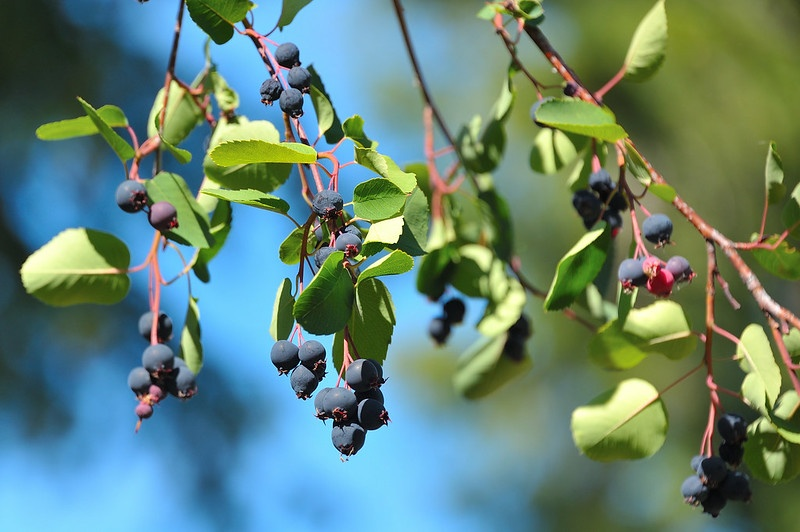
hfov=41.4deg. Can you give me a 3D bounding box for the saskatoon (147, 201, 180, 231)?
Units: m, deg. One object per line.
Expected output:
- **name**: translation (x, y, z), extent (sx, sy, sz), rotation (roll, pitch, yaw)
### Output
- **saskatoon**: translation (-1.078, -0.225, 4.800), extent (0.134, 0.122, 0.112), rotation (8, 36, -17)

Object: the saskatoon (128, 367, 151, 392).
- **saskatoon**: translation (-1.169, 0.510, 4.805), extent (0.087, 0.097, 0.130), rotation (-13, 81, 7)

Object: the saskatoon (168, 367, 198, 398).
- **saskatoon**: translation (-0.975, 0.525, 4.760), extent (0.095, 0.150, 0.097), rotation (-25, 22, -34)

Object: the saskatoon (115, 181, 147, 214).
- **saskatoon**: translation (-1.237, -0.308, 4.856), extent (0.135, 0.152, 0.197), rotation (-3, 76, -18)

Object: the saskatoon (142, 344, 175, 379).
- **saskatoon**: translation (-1.082, 0.417, 4.736), extent (0.117, 0.169, 0.126), rotation (-10, 0, -22)
